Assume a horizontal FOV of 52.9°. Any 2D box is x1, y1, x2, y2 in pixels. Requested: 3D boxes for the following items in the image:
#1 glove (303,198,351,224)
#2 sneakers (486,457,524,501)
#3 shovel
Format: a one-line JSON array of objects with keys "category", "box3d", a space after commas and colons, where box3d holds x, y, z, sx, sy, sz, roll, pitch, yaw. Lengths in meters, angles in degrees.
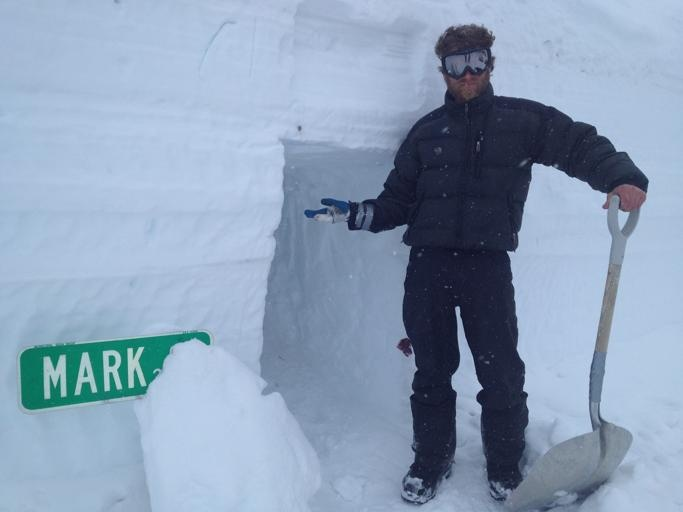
[{"category": "glove", "box3d": [-0.059, -0.210, 3.282, 0.164, 0.067, 0.129, 2, 48, 2]}, {"category": "sneakers", "box3d": [0.725, 1.004, 3.064, 0.123, 0.189, 0.172, 10, -23, -40]}, {"category": "shovel", "box3d": [1.021, 0.432, 2.874, 0.603, 1.373, 0.194, 0, 8, -25]}]
